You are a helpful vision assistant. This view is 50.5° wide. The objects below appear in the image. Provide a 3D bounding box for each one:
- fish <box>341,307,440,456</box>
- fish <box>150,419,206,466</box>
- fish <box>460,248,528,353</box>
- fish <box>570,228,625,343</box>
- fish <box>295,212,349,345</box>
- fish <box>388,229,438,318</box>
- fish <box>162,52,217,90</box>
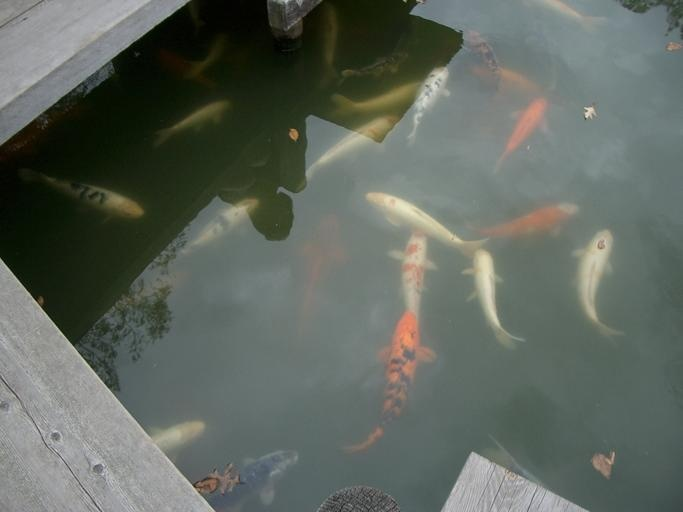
[{"bbox_3d":[0.499,1.171,6.217,0.497,0.361,1.366,16,80,7],"label":"fish"},{"bbox_3d":[-1.329,1.458,5.954,0.509,0.284,0.220,-13,56,-15],"label":"fish"},{"bbox_3d":[1.361,0.349,6.413,0.344,0.353,0.951,7,66,-19],"label":"fish"},{"bbox_3d":[2.316,0.247,6.681,0.431,0.306,0.803,23,88,17],"label":"fish"},{"bbox_3d":[-0.181,0.192,6.642,0.292,0.426,1.089,12,55,4],"label":"fish"},{"bbox_3d":[0.655,0.200,6.589,0.314,0.255,0.799,6,57,-16],"label":"fish"},{"bbox_3d":[-1.613,-1.924,7.525,0.704,0.101,0.245,27,76,6],"label":"fish"}]
